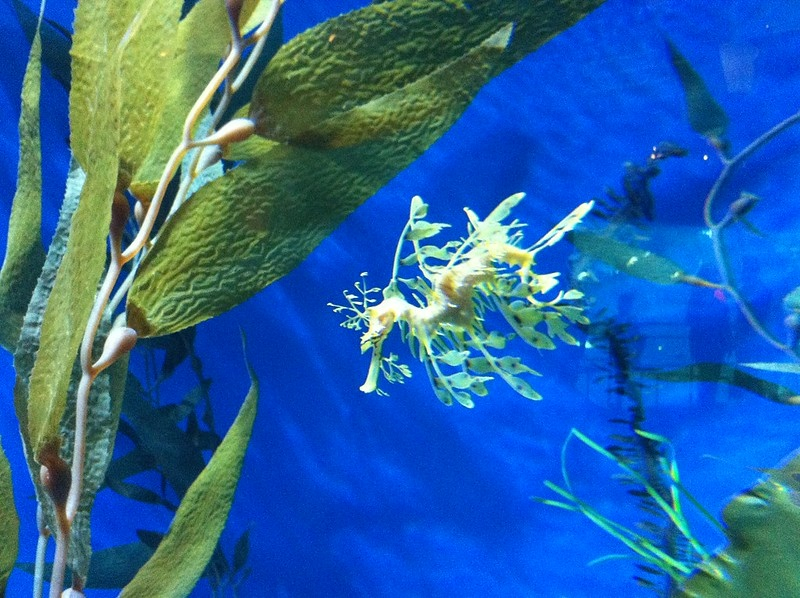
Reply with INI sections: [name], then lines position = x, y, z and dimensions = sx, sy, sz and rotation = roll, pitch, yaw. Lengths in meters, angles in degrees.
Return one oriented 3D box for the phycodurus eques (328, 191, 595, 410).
[phycodurus eques]
position = 0.073, 0.015, 1.111
dimensions = 0.256, 0.255, 0.082
rotation = -35, -24, 25
